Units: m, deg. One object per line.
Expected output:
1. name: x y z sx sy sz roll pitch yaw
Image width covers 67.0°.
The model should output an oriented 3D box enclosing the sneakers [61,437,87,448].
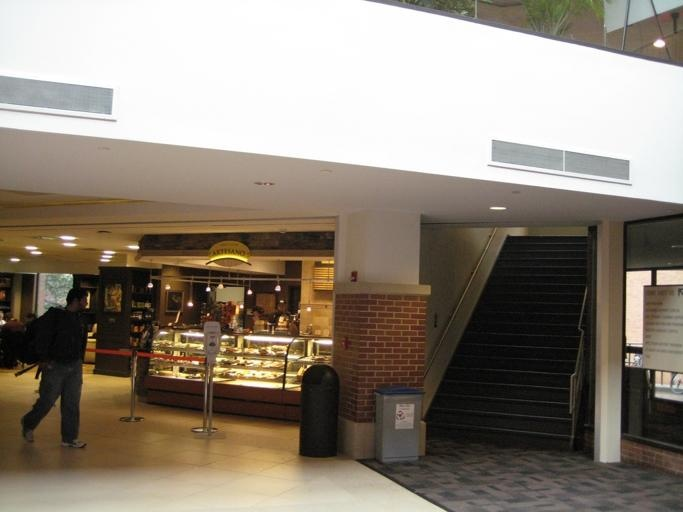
1. sneakers: -3.642 2.600 7.103 0.355 0.140 0.126 1 -4 -4

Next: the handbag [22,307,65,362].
1. handbag: -3.963 1.057 6.789 0.287 0.773 0.586 13 1 -38

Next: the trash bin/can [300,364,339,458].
1. trash bin/can: -0.298 2.124 7.007 0.510 1.217 0.284 2 -6 -4

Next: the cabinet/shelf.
1. cabinet/shelf: -2.090 1.899 9.450 3.896 0.987 0.766 -4 -8 29
